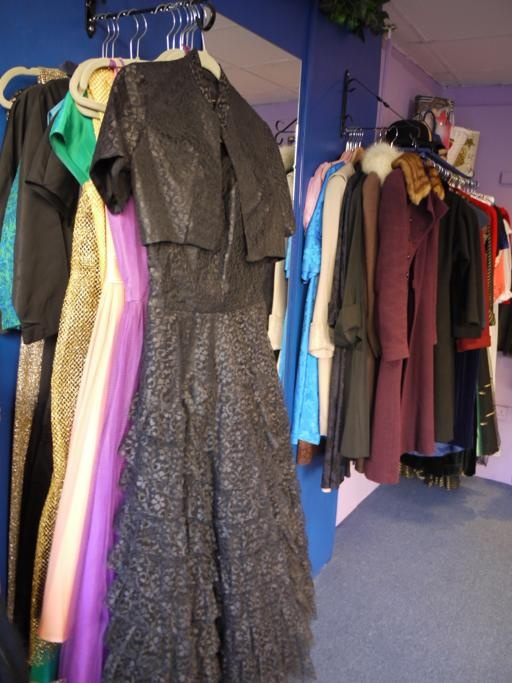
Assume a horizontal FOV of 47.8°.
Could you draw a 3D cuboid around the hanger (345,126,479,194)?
[{"bbox_3d":[0.548,-0.686,2.062,0.392,0.261,0.614,6,9,30],"label":"hanger"}]
